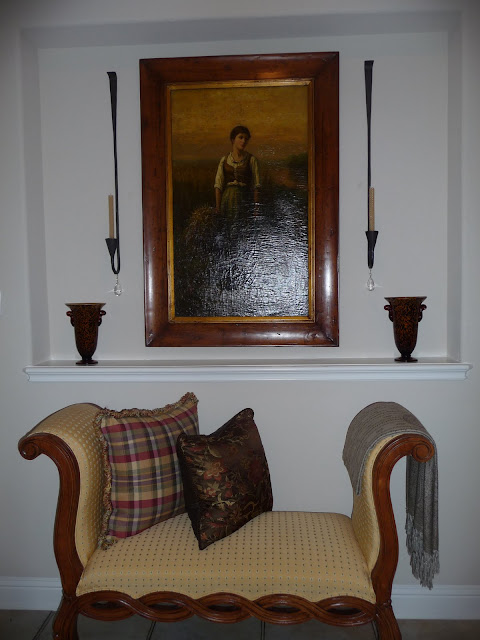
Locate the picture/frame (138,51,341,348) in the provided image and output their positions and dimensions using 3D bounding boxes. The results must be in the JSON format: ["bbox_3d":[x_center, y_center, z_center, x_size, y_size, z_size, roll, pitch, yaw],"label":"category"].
[{"bbox_3d":[-0.002,-0.443,2.299,0.719,1.228,0.059,-1,34,-3],"label":"picture/frame"}]

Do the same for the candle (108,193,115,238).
[{"bbox_3d":[-0.503,-0.401,2.245,0.029,0.156,0.123,-3,9,-13],"label":"candle"}]

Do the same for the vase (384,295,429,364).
[{"bbox_3d":[0.612,0.029,2.169,0.179,0.250,0.138,5,10,36],"label":"vase"}]

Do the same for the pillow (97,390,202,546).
[{"bbox_3d":[-0.291,0.498,1.861,0.297,0.379,0.108,15,-16,-40],"label":"pillow"}]

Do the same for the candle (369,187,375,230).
[{"bbox_3d":[0.501,-0.419,2.181,0.018,0.156,0.084,0,8,14],"label":"candle"}]
